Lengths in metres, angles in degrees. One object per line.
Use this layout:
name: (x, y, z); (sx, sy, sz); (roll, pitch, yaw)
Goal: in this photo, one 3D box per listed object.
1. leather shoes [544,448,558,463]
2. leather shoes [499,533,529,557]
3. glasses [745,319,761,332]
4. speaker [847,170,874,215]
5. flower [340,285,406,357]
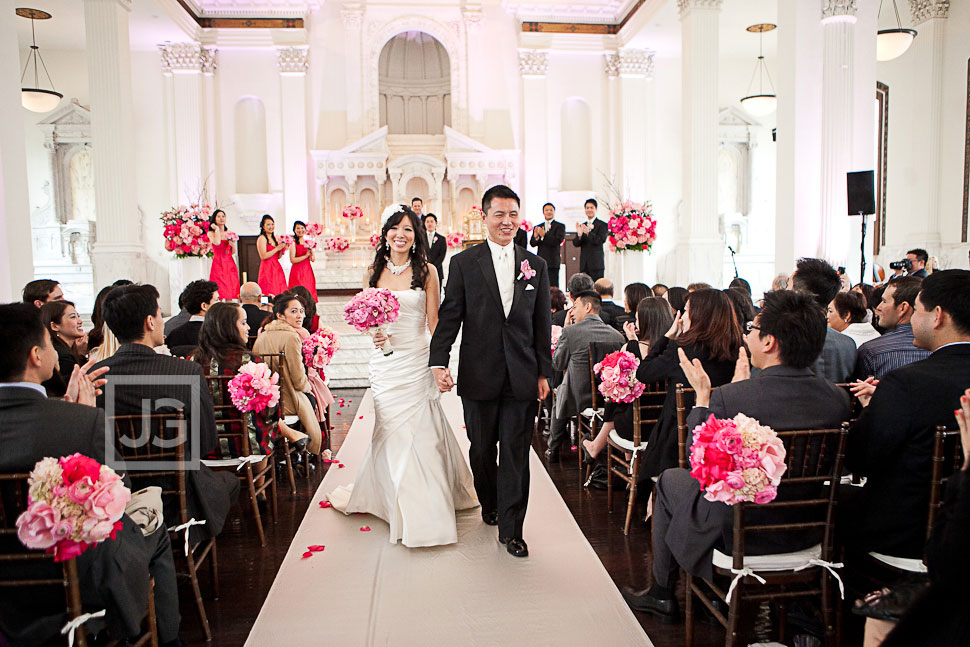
leather shoes: (0.649, 1.299, 7.275); (0.102, 0.110, 0.113); (1, -7, 3)
leather shoes: (0.211, 1.647, 5.509); (0.095, 0.102, 0.242); (0, -1, -37)
glasses: (1.782, 0.006, 4.957); (0.080, 0.099, 0.049); (15, -10, -43)
speaker: (4.572, -1.611, 9.090); (0.219, 0.523, 0.364); (-7, 7, -43)
flower: (-0.814, -0.003, 5.631); (0.357, 0.536, 0.418); (1, 6, 32)
